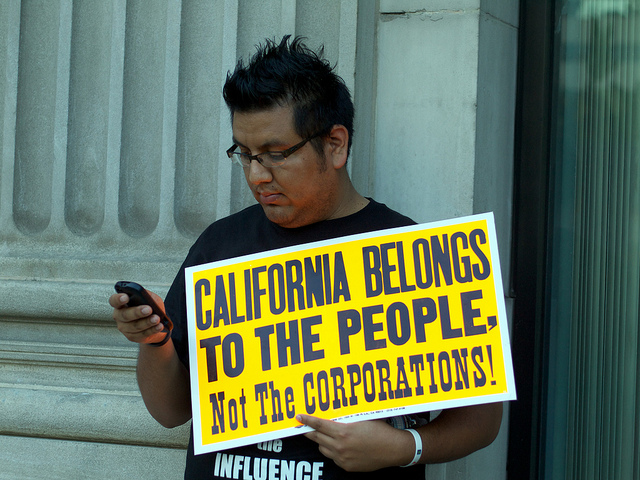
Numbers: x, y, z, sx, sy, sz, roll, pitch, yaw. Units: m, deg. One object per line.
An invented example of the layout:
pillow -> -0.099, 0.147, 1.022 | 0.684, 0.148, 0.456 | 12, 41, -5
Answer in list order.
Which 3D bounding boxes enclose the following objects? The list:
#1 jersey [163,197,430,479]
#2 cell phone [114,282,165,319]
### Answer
jersey -> -0.065, 0.420, 3.836 | 0.979, 1.072, 0.543 | -1, -7, -4
cell phone -> -0.730, 0.221, 3.674 | 0.091, 0.026, 0.186 | 10, 27, -26
